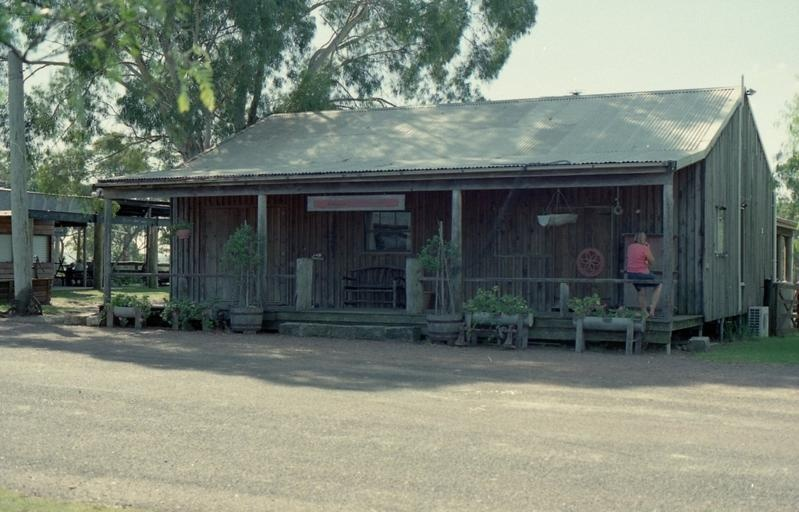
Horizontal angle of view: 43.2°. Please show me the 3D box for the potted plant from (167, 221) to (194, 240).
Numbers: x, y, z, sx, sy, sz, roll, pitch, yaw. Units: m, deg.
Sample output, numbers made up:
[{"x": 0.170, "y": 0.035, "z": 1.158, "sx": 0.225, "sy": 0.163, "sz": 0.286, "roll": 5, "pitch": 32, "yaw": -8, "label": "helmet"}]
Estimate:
[{"x": -5.884, "y": -0.706, "z": 27.536, "sx": 0.522, "sy": 0.388, "sz": 0.513, "roll": 0, "pitch": 1, "yaw": -16, "label": "potted plant"}]

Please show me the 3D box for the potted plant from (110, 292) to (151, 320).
[{"x": -6.843, "y": 1.305, "z": 25.928, "sx": 0.737, "sy": 0.478, "sz": 0.861, "roll": 5, "pitch": 1, "yaw": 40, "label": "potted plant"}]

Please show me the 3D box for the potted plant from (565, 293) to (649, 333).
[{"x": 4.572, "y": 1.289, "z": 22.756, "sx": 1.153, "sy": 0.680, "sz": 0.928, "roll": 3, "pitch": 7, "yaw": 12, "label": "potted plant"}]

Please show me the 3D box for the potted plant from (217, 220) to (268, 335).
[{"x": -3.930, "y": 0.513, "z": 25.513, "sx": 0.948, "sy": 2.589, "sz": 2.167, "roll": -3, "pitch": 11, "yaw": -13, "label": "potted plant"}]

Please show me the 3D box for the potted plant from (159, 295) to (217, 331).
[{"x": -5.230, "y": 1.459, "z": 25.326, "sx": 0.929, "sy": 0.612, "sz": 0.973, "roll": 3, "pitch": -1, "yaw": -43, "label": "potted plant"}]

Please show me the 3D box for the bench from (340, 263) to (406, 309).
[{"x": -0.723, "y": 0.827, "z": 26.510, "sx": 1.762, "sy": 1.143, "sz": 0.792, "roll": 2, "pitch": 11, "yaw": 15, "label": "bench"}]
